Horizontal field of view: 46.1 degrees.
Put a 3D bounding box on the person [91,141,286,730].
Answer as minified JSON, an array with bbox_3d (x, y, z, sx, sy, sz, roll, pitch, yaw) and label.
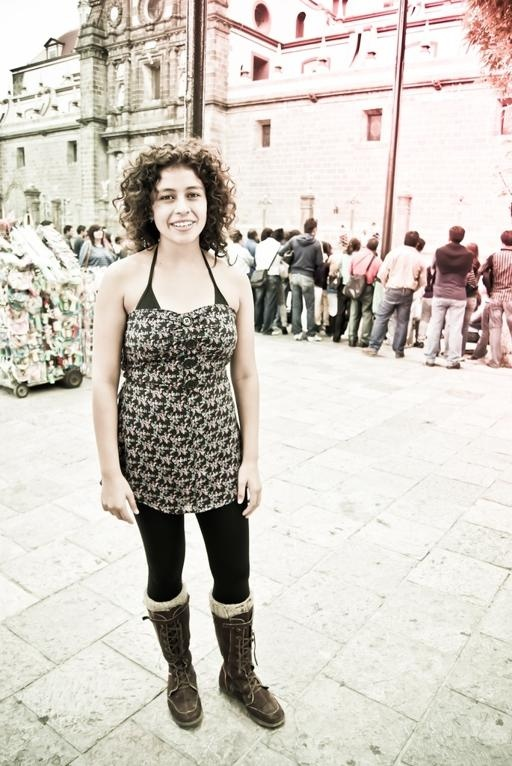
[{"bbox_3d":[-0.204,0.181,1.856,0.564,1.801,0.419,-2,12,-14],"label":"person"}]

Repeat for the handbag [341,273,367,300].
[{"bbox_3d":[1.585,-1.561,9.673,0.434,0.460,0.246,16,15,39],"label":"handbag"}]
